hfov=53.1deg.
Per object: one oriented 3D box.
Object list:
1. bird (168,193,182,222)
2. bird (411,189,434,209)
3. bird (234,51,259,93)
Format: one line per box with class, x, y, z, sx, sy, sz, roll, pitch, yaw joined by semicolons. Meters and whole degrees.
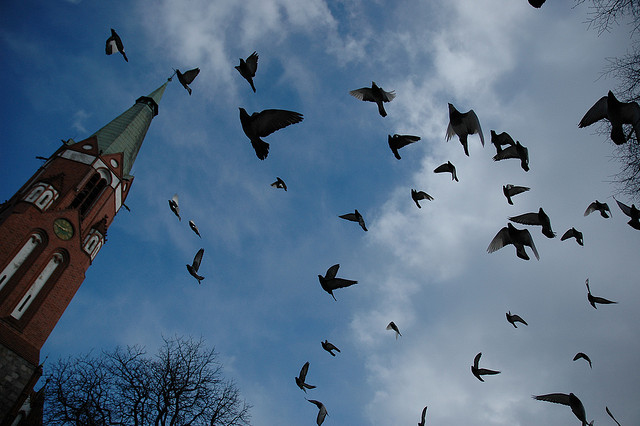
bird;-6.846;-0.251;30.250;0.445;0.963;1.130;-13;-60;-24
bird;4.467;-0.662;28.399;0.909;0.200;0.775;-21;-88;39
bird;-4.086;-7.756;35.929;1.022;2.763;1.137;11;-42;-12
